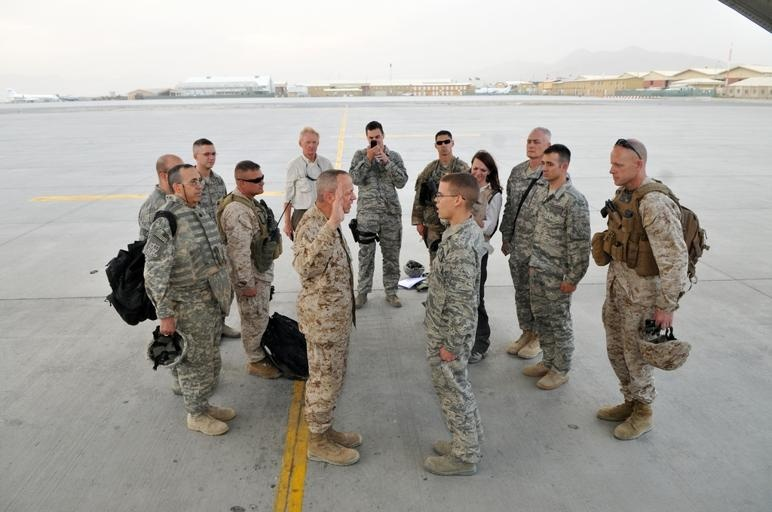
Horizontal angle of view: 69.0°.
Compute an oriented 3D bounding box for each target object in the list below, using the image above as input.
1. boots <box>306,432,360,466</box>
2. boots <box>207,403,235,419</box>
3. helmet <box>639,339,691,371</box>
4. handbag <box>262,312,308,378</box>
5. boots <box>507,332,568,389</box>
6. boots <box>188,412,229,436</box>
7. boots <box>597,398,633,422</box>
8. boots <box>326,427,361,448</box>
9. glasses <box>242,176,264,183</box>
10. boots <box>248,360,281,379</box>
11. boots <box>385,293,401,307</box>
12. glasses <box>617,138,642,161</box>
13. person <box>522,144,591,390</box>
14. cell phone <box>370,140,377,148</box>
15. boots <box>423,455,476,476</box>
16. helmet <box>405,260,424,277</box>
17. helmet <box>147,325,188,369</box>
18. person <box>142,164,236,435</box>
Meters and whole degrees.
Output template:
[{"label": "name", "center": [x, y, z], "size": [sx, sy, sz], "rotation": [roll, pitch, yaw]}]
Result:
[{"label": "boots", "center": [-0.526, 1.836, 5.471], "size": [0.628, 0.338, 0.224], "rotation": [-1, 13, -5]}, {"label": "boots", "center": [-1.712, 1.624, 5.862], "size": [0.312, 0.105, 0.120], "rotation": [4, 22, -5]}, {"label": "helmet", "center": [2.661, 0.957, 5.353], "size": [0.408, 0.225, 0.310], "rotation": [-3, 0, 11]}, {"label": "handbag", "center": [-1.146, 1.068, 6.468], "size": [0.330, 0.863, 0.612], "rotation": [-14, 59, 6]}, {"label": "boots", "center": [1.759, 1.244, 6.563], "size": [0.303, 0.345, 0.892], "rotation": [-15, 5, -19]}, {"label": "boots", "center": [-1.817, 1.701, 5.702], "size": [0.408, 0.128, 0.185], "rotation": [3, 18, 5]}, {"label": "boots", "center": [2.381, 1.601, 5.878], "size": [0.434, 0.232, 0.157], "rotation": [3, 10, 22]}, {"label": "boots", "center": [-0.389, 1.788, 5.532], "size": [0.413, 0.141, 0.146], "rotation": [-1, 13, 2]}, {"label": "glasses", "center": [-1.469, -0.847, 6.307], "size": [0.068, 0.086, 0.240], "rotation": [15, 27, 34]}, {"label": "boots", "center": [-1.412, 1.321, 6.497], "size": [0.383, 0.208, 0.174], "rotation": [-1, 14, -4]}, {"label": "boots", "center": [0.115, 0.643, 8.011], "size": [0.104, 0.188, 0.296], "rotation": [-6, 9, -34]}, {"label": "glasses", "center": [2.354, -1.050, 5.498], "size": [0.201, 0.181, 0.292], "rotation": [-6, 22, -10]}, {"label": "person", "center": [1.886, 0.131, 6.129], "size": [0.631, 2.586, 1.045], "rotation": [4, 25, 14]}, {"label": "cell phone", "center": [-0.168, -1.509, 7.558], "size": [0.118, 0.105, 0.088], "rotation": [7, 25, 20]}, {"label": "boots", "center": [0.579, 1.959, 5.330], "size": [0.519, 0.200, 0.183], "rotation": [4, 4, 2]}, {"label": "helmet", "center": [0.454, 0.198, 8.906], "size": [0.251, 0.181, 0.275], "rotation": [3, 13, 2]}, {"label": "helmet", "center": [-2.106, 0.894, 5.415], "size": [0.395, 0.389, 0.193], "rotation": [4, -19, -6]}, {"label": "person", "center": [-1.924, 0.461, 5.600], "size": [0.717, 2.575, 1.085], "rotation": [-4, 25, -3]}]
